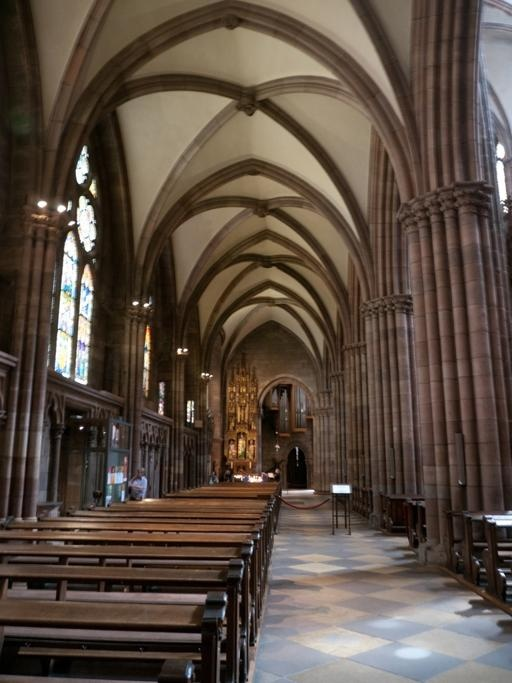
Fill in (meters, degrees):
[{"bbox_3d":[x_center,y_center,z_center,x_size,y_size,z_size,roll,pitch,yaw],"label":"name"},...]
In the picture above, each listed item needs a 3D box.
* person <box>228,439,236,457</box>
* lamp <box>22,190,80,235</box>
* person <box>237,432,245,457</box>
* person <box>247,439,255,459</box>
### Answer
[{"bbox_3d":[-1.681,7.376,37.295,0.497,1.196,0.171,2,-14,1],"label":"person"},{"bbox_3d":[-3.975,-2.313,10.417,0.835,0.678,0.226,-5,-28,-28],"label":"lamp"},{"bbox_3d":[-1.026,7.173,37.333,0.572,1.613,0.180,3,-14,-4],"label":"person"},{"bbox_3d":[-0.350,7.438,37.159,0.538,1.376,0.145,1,-14,5],"label":"person"}]
